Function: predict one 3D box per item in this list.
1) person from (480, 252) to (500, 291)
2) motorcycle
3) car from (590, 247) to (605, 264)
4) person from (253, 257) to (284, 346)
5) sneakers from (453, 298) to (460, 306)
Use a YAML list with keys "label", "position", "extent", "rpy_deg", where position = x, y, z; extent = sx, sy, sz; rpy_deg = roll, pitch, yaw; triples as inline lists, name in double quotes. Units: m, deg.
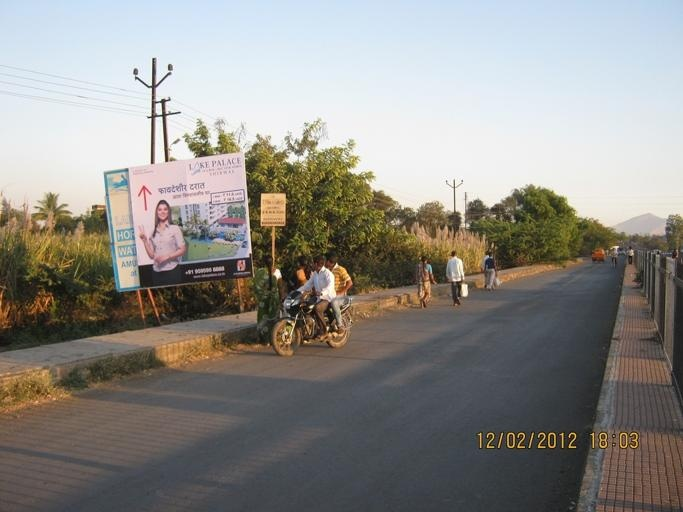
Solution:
- label: "person"
  position: [7.004, 0.660, 28.063]
  extent: [0.651, 1.699, 2.194]
  rpy_deg: [0, 5, 14]
- label: "motorcycle"
  position: [-0.724, 1.458, 12.512]
  extent: [1.808, 1.153, 0.935]
  rpy_deg: [3, -7, -37]
- label: "car"
  position: [31.514, -0.048, 73.169]
  extent: [1.630, 1.669, 3.048]
  rpy_deg: [1, 10, 14]
- label: "person"
  position: [-1.539, 0.850, 12.597]
  extent: [0.547, 1.877, 0.561]
  rpy_deg: [0, 25, -4]
- label: "sneakers"
  position: [3.955, 1.587, 20.465]
  extent: [0.135, 0.243, 0.220]
  rpy_deg: [1, -3, 39]
